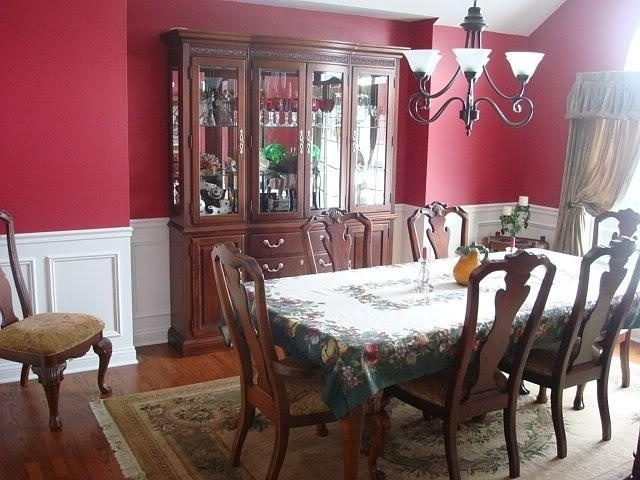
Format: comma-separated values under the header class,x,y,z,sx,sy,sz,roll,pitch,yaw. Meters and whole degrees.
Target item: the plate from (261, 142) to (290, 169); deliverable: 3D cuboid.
class,x,y,z,sx,sy,sz,roll,pitch,yaw
plate,-0.410,-0.789,4.495,0.195,0.221,0.121,-15,4,-18
